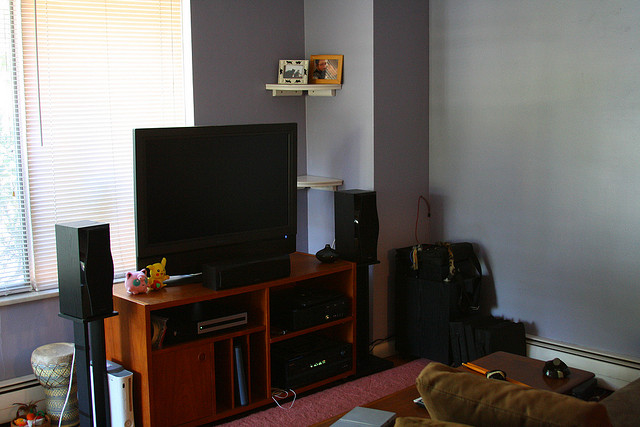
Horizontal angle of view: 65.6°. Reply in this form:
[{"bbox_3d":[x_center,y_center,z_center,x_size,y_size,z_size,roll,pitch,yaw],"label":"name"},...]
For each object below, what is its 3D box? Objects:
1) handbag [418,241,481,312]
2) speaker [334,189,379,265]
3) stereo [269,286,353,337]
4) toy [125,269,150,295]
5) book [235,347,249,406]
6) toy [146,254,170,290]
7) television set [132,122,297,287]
[{"bbox_3d":[1.047,0.497,3.878,0.552,0.538,0.271,-9,10,-31],"label":"handbag"},{"bbox_3d":[0.267,0.097,3.681,0.328,0.529,0.190,-4,9,1],"label":"speaker"},{"bbox_3d":[-0.092,0.666,3.643,0.534,0.186,0.488,-5,9,-28],"label":"stereo"},{"bbox_3d":[-1.104,0.409,3.007,0.129,0.127,0.133,-3,0,29],"label":"toy"},{"bbox_3d":[-0.518,1.042,3.204,0.078,0.385,0.054,4,-38,-23],"label":"book"},{"bbox_3d":[-1.011,0.378,3.117,0.134,0.201,0.202,-4,-2,17],"label":"toy"},{"bbox_3d":[-0.721,-0.085,3.277,1.137,1.047,0.332,-6,12,-39],"label":"television set"}]
